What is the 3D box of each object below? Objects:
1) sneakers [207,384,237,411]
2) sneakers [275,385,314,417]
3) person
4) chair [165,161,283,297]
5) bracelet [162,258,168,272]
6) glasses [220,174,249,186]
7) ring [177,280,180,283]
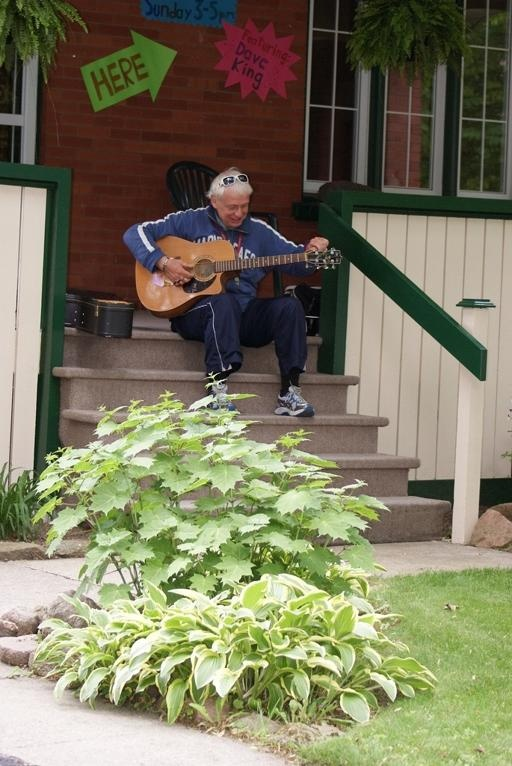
[{"bbox_3d":[-0.171,0.056,3.690,0.097,0.107,0.267,-2,-3,-11],"label":"sneakers"},{"bbox_3d":[0.192,0.106,4.676,0.116,0.138,0.244,-1,1,-40],"label":"sneakers"},{"bbox_3d":[-0.088,-0.521,4.793,0.941,1.564,0.443,1,0,1],"label":"person"},{"bbox_3d":[-0.347,-1.150,6.461,0.796,0.866,0.679,16,21,26],"label":"chair"},{"bbox_3d":[-0.505,-0.647,4.773,0.028,0.074,0.061,1,4,-8],"label":"bracelet"},{"bbox_3d":[-0.158,-1.125,4.818,0.102,0.032,0.101,-6,-4,-28],"label":"glasses"},{"bbox_3d":[-0.428,-0.555,4.769,0.015,0.013,0.005,-2,-13,36],"label":"ring"}]
